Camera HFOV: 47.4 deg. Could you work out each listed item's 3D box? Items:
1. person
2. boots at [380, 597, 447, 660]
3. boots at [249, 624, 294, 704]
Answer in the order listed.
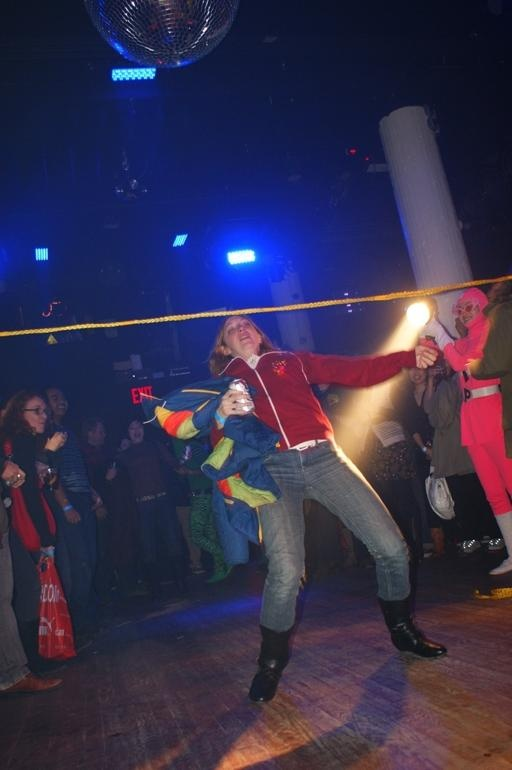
[{"bbox_3d":[0.218,0.452,3.093,1.364,1.999,0.627,-11,-9,-7],"label":"person"},{"bbox_3d":[0.788,1.195,2.877,0.133,0.273,0.366,-3,-8,-33],"label":"boots"},{"bbox_3d":[0.069,1.307,2.730,0.128,0.364,0.255,1,20,-1],"label":"boots"}]
